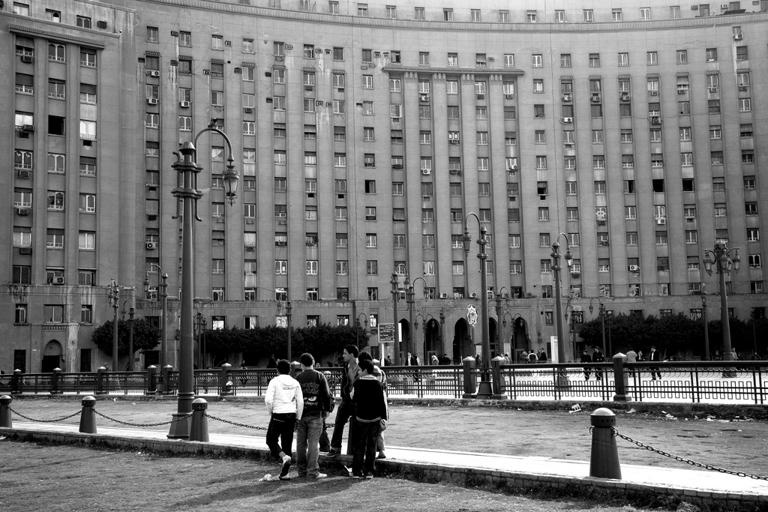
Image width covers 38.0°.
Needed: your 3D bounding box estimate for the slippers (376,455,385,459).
[{"bbox_3d":[-0.225,11.526,64.084,0.511,0.381,0.190,0,-4,-3],"label":"slippers"}]
